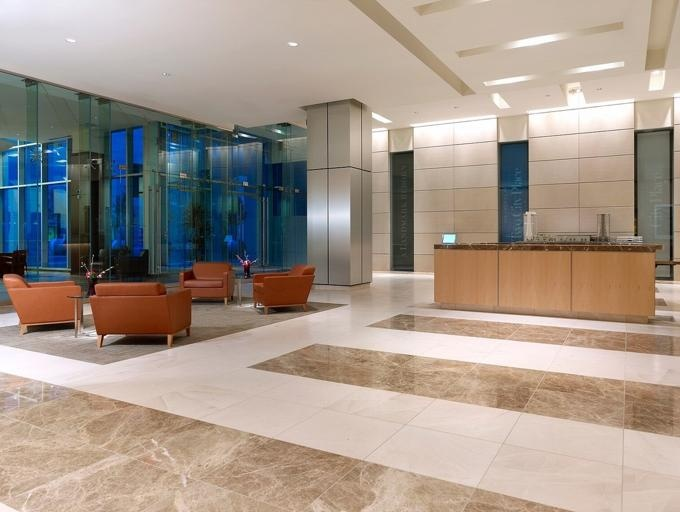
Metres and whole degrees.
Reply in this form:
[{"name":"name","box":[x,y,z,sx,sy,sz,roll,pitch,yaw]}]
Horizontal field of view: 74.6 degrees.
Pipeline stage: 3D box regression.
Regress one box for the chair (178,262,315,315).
[{"name":"chair","box":[-2.003,0.645,9.880,1.870,0.927,3.421,-6,8,-43]}]

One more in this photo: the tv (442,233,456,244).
[{"name":"tv","box":[2.790,-0.425,11.271,0.371,0.258,0.195,1,-4,41]}]

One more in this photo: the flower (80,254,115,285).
[{"name":"flower","box":[-5.768,0.319,10.574,0.772,0.758,0.745,0,4,-13]}]
